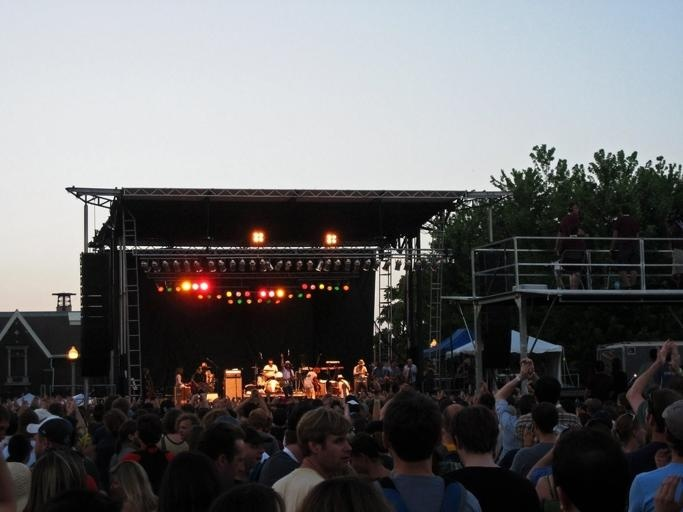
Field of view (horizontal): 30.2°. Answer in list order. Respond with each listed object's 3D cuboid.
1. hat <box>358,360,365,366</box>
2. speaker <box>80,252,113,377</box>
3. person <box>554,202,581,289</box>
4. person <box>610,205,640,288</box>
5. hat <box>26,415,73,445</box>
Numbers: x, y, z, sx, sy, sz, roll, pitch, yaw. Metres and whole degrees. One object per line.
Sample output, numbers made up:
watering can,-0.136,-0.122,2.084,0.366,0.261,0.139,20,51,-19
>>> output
hat,0.530,2.787,33.612,0.121,0.121,0.156,-5,0,0
speaker,-5.257,1.237,27.733,0.937,2.710,0.643,0,0,13
person,4.506,-0.194,25.223,0.572,1.658,1.098,-4,-10,11
person,5.661,-0.166,25.338,0.539,1.574,1.391,-5,-10,12
hat,-3.606,2.156,15.722,0.514,0.292,0.360,25,12,16
